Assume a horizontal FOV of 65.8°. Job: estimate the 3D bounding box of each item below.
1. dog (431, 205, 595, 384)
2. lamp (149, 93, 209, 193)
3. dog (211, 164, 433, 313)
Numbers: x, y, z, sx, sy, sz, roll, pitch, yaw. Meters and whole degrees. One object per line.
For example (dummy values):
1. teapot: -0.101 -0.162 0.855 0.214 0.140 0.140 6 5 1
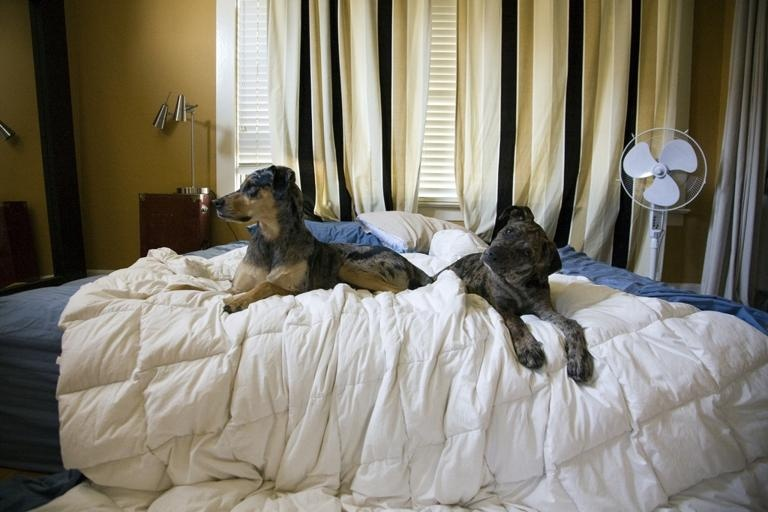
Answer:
1. dog: 0.733 0.037 3.551 0.490 0.783 1.514 -6 21 -14
2. lamp: -1.903 -1.061 5.528 0.711 0.872 0.420 8 16 37
3. dog: -0.439 -0.043 3.931 1.484 1.002 0.657 3 -6 -16
